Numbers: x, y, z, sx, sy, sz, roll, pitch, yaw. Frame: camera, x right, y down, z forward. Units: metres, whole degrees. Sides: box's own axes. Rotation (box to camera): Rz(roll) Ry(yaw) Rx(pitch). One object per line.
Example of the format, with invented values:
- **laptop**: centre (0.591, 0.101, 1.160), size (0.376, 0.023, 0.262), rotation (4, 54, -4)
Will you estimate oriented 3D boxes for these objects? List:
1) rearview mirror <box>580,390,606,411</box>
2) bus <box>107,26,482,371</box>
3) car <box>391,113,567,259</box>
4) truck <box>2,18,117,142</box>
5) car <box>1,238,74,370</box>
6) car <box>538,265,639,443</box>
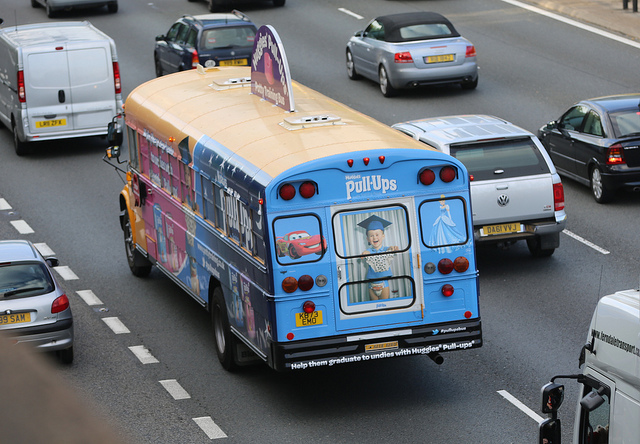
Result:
- **rearview mirror**: centre (2.026, 1.350, 6.072), size (0.174, 0.064, 0.135), rotation (-34, 37, -16)
- **bus**: centre (-1.026, -0.544, 12.433), size (3.338, 3.628, 7.433), rotation (-6, 18, -24)
- **car**: centre (2.734, -0.862, 14.321), size (1.623, 1.537, 3.120), rotation (-6, 23, -16)
- **truck**: centre (-6.522, -3.055, 20.643), size (2.759, 2.529, 4.694), rotation (-7, 24, -18)
- **car**: centre (-3.325, 0.951, 9.615), size (0.937, 0.925, 2.121), rotation (-6, 26, -16)
- **car**: centre (2.090, 1.264, 6.209), size (0.693, 1.585, 0.833), rotation (9, 30, 22)
